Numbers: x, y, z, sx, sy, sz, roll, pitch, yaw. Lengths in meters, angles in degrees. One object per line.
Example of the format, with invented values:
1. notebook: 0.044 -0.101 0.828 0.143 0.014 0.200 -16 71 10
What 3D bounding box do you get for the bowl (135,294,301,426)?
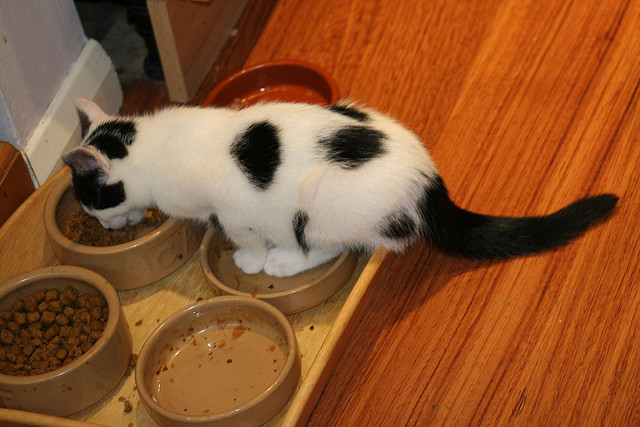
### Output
1. bowl: -0.292 0.421 1.899 0.449 0.182 0.379 -8 67 -8
